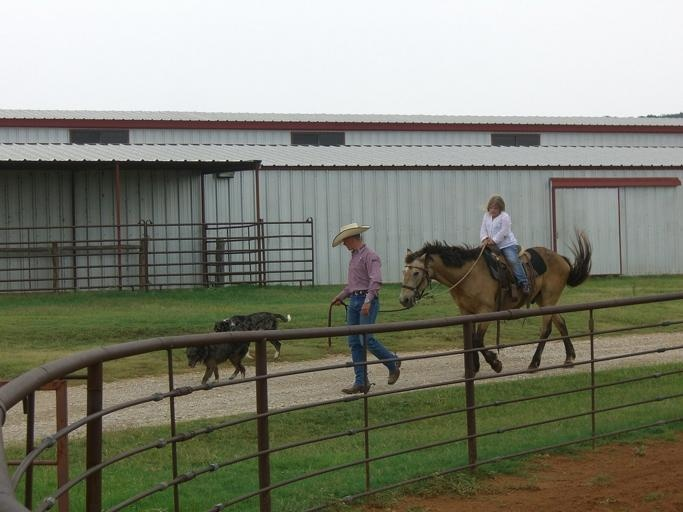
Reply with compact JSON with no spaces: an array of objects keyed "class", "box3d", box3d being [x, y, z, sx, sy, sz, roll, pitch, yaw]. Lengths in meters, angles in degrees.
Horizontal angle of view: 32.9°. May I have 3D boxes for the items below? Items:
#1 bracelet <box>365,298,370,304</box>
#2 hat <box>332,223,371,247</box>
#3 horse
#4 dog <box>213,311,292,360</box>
[{"class":"bracelet","box3d":[0.382,0.661,17.120,0.080,0.122,0.091,5,-9,-8]},{"class":"hat","box3d":[0.018,-0.303,17.579,0.505,0.132,0.453,-29,-7,31]},{"class":"horse","box3d":[2.796,0.754,20.058,3.990,2.533,0.906,-4,1,-28]},{"class":"dog","box3d":[-1.557,1.369,19.503,1.528,0.727,0.359,-5,-1,-27]}]
